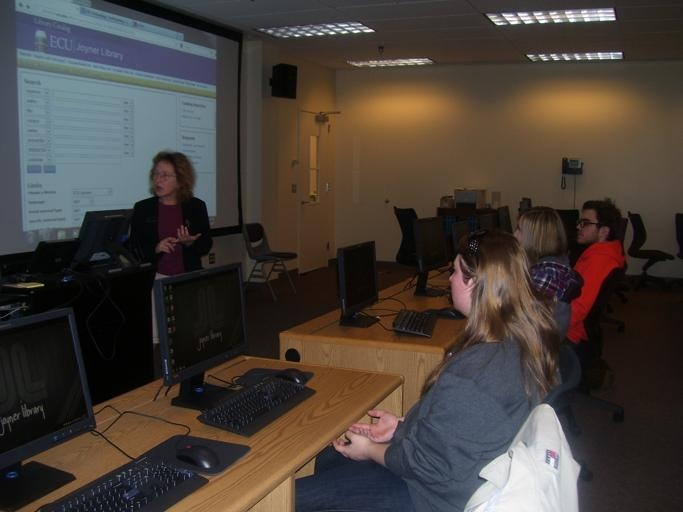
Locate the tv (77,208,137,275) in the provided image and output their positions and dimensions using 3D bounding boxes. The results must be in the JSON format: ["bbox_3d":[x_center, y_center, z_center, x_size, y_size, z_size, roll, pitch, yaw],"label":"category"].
[{"bbox_3d":[-1.567,-0.080,3.424,0.215,0.402,0.410,21,13,27],"label":"tv"}]

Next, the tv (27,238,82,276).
[{"bbox_3d":[-1.829,0.001,3.294,0.217,0.280,0.297,17,12,34],"label":"tv"}]

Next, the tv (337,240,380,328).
[{"bbox_3d":[0.111,0.173,3.321,0.169,0.512,0.507,1,8,27],"label":"tv"}]

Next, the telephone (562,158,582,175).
[{"bbox_3d":[3.647,-1.382,8.154,0.365,0.339,0.239,1,1,28],"label":"telephone"}]

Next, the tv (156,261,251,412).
[{"bbox_3d":[-0.578,0.337,2.156,0.165,0.542,0.542,1,4,21],"label":"tv"}]

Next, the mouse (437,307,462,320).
[{"bbox_3d":[0.726,0.390,3.471,0.115,0.036,0.088,1,7,-7],"label":"mouse"}]

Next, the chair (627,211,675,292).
[{"bbox_3d":[4.617,-0.086,7.665,0.598,1.001,0.651,10,-4,-40],"label":"chair"}]
